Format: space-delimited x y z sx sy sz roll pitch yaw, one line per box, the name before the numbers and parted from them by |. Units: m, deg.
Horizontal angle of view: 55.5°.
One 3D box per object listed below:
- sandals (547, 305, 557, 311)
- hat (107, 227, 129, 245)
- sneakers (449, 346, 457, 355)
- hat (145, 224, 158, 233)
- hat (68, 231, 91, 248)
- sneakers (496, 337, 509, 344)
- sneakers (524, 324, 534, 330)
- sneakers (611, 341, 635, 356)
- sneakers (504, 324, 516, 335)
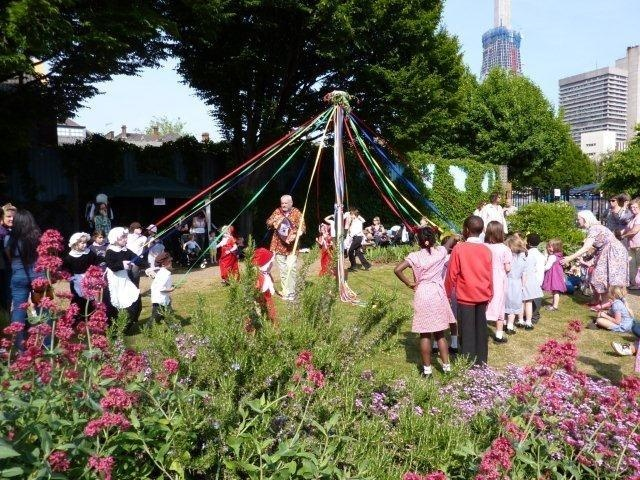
sandals | 3.799 1.123 9.984 0.081 0.064 0.145 -3 -5 42
hat | -2.768 -0.051 8.327 0.243 0.214 0.263 -3 4 -21
sneakers | 1.708 1.416 7.830 0.093 0.080 0.216 -2 4 8
hat | -3.107 -0.203 11.251 0.204 0.136 0.283 29 -2 -16
hat | -3.705 -0.011 9.419 0.270 0.188 0.287 -16 7 34
sneakers | 2.473 1.360 8.303 0.139 0.066 0.078 -8 12 -20
sneakers | 3.083 1.276 8.949 0.156 0.072 0.093 -3 4 -19
sneakers | 3.897 1.418 7.852 0.283 0.134 0.111 26 26 -28
sneakers | 2.745 1.295 8.776 0.192 0.209 0.098 2 3 44
